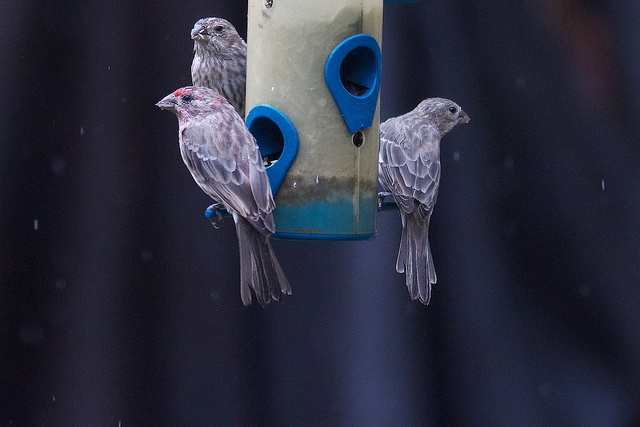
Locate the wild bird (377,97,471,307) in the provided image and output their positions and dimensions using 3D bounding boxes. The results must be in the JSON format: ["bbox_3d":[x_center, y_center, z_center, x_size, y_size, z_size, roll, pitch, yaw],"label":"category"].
[{"bbox_3d":[0.771,-0.242,7.168,0.469,1.821,0.688,4,-13,-10],"label":"wild bird"}]
